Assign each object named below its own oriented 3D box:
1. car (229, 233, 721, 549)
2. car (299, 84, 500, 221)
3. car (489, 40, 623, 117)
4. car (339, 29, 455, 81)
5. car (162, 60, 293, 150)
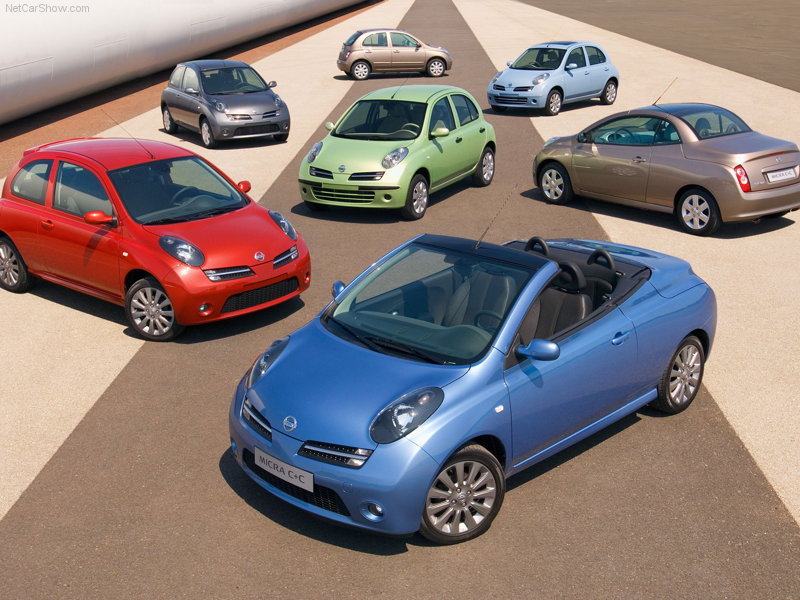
[{"bbox_3d":[0.747,0.446,5.372,3.843,1.553,2.091,-19,24,-37],"label":"car"},{"bbox_3d":[0.134,-2.874,12.308,2.254,1.806,3.682,10,20,32],"label":"car"},{"bbox_3d":[4.750,-6.731,19.803,3.924,1.879,2.266,-15,23,-37],"label":"car"},{"bbox_3d":[-0.299,-9.852,26.003,4.168,1.795,2.231,-6,21,-13],"label":"car"},{"bbox_3d":[-4.628,-5.158,16.915,2.080,1.705,3.534,-15,24,-36],"label":"car"}]
